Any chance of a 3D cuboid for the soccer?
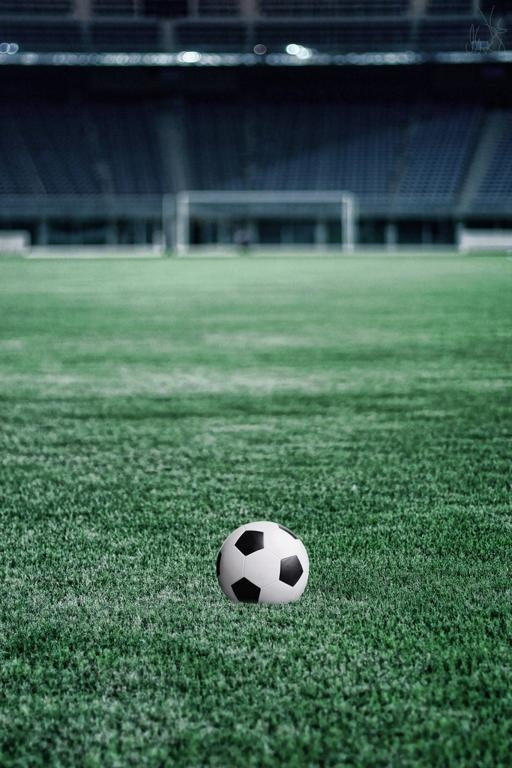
[{"bbox_3d":[0.008,0.469,3.175,0.218,0.207,0.214,-1,-18,-42],"label":"soccer"}]
